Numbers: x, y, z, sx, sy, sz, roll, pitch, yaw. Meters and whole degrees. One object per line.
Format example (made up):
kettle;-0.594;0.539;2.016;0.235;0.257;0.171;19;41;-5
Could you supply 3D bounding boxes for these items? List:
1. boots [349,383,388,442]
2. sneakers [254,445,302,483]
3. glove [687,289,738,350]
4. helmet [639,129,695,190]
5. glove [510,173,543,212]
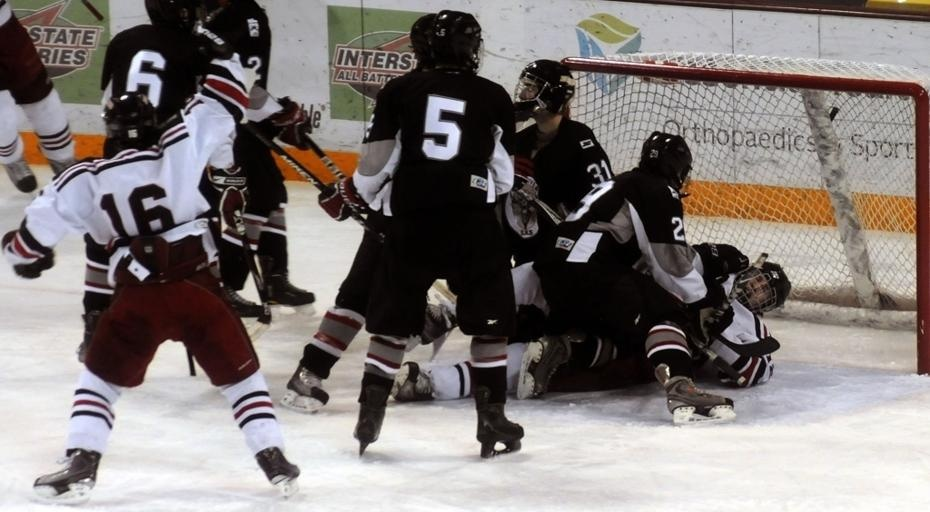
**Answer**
boots;-0.495;0.829;4.614;0.139;0.342;0.171;14;-23;1
sneakers;-0.935;1.029;4.357;0.168;0.125;0.244;35;0;-44
glove;1.442;0.368;5.201;0.161;0.303;0.275;6;8;-31
helmet;1.211;-0.573;5.402;0.316;0.329;0.394;20;2;31
glove;0.345;-0.398;5.589;0.196;0.202;0.217;6;19;-2
